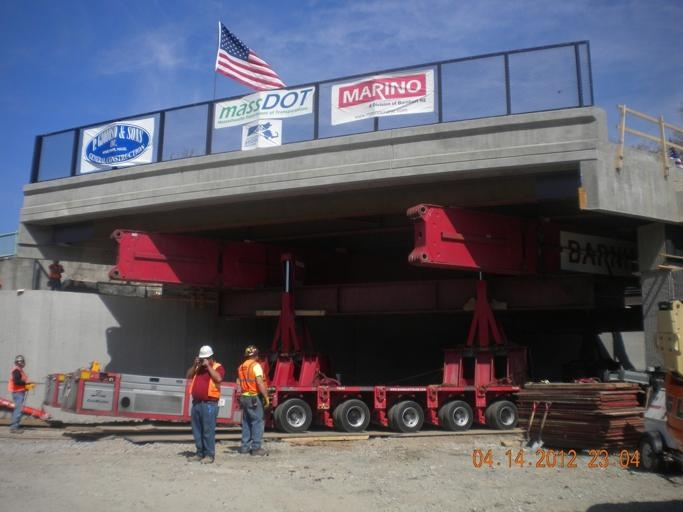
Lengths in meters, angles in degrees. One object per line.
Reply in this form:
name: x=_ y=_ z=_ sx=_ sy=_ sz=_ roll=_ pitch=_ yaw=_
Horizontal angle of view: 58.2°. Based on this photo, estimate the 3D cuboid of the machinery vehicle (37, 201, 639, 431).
machinery vehicle: x=0.859 y=1.830 z=19.202 sx=14.695 sy=6.285 sz=7.664 roll=1 pitch=-5 yaw=-2

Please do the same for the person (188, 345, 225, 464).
person: x=-2.829 y=3.019 z=12.629 sx=0.674 sy=2.329 sz=0.919 roll=2 pitch=-5 yaw=-13

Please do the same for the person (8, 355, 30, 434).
person: x=-8.311 y=3.524 z=15.836 sx=0.492 sy=1.854 sz=1.004 roll=4 pitch=-5 yaw=-28

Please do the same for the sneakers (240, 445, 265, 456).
sneakers: x=-1.949 y=4.257 z=13.452 sx=0.623 sy=0.274 sz=0.212 roll=0 pitch=-3 yaw=0

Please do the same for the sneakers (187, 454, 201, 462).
sneakers: x=-3.039 y=4.160 z=12.695 sx=0.321 sy=0.142 sz=0.118 roll=4 pitch=-10 yaw=1

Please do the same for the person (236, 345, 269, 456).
person: x=-1.910 y=3.281 z=13.205 sx=0.632 sy=2.030 sz=0.926 roll=2 pitch=-5 yaw=-9

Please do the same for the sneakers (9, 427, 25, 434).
sneakers: x=-8.157 y=4.374 z=15.414 sx=0.370 sy=0.179 sz=0.182 roll=0 pitch=-3 yaw=5
